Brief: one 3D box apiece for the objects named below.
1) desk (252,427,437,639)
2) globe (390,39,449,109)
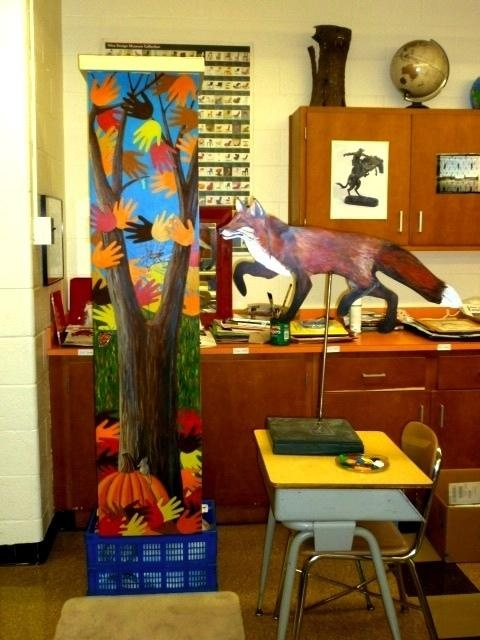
[{"bbox_3d":[0.223,0.532,1.728,0.485,0.610,0.631,-1,7,-2],"label":"desk"},{"bbox_3d":[0.910,-1.266,2.997,0.277,0.291,0.107,3,13,14],"label":"globe"}]
